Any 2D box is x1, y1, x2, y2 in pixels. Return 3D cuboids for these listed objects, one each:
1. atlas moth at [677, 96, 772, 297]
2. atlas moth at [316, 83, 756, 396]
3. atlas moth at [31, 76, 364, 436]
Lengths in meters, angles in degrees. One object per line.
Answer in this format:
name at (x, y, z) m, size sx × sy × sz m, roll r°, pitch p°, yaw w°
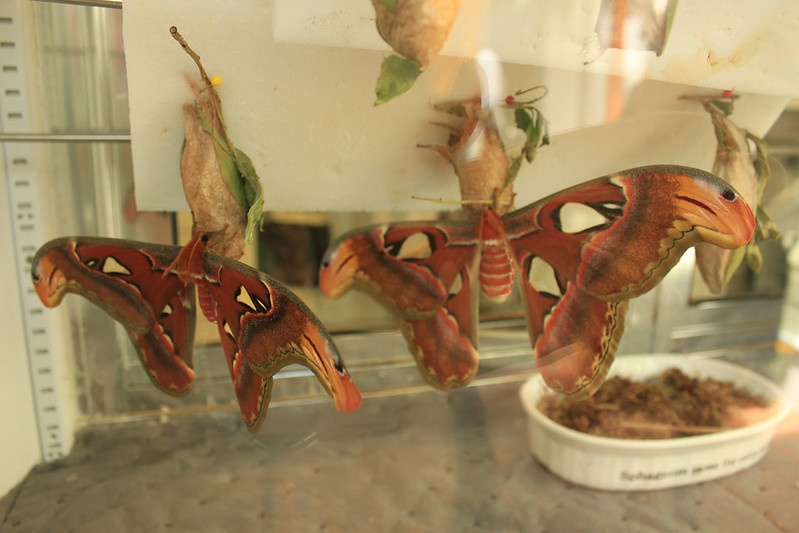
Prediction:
atlas moth at (0.473, -0.105, 1.212) m, size 0.173 × 0.263 × 0.073 m, roll -1°, pitch 20°, yaw 6°
atlas moth at (0.133, 0.031, 1.087) m, size 0.623 × 0.128 × 0.311 m, roll -10°, pitch 65°, yaw 20°
atlas moth at (-0.324, 0.010, 1.192) m, size 0.422 × 0.376 × 0.276 m, roll -11°, pitch 10°, yaw -12°
